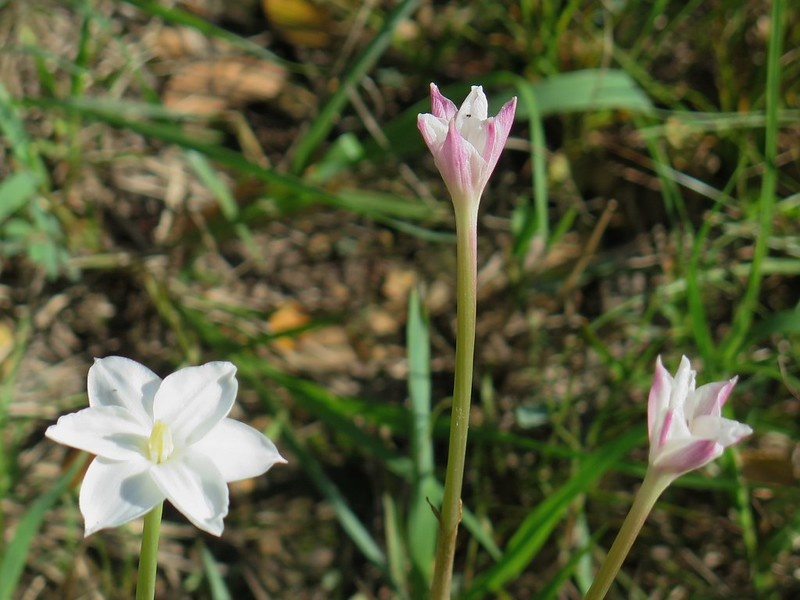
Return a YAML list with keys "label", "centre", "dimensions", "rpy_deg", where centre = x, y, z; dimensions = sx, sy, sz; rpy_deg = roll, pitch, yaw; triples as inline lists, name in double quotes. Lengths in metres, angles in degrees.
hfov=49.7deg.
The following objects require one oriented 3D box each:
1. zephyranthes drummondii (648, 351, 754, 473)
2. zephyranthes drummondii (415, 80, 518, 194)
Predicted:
- label: "zephyranthes drummondii"
  centre: [0.604, 0.233, 1.786]
  dimensions: [0.193, 0.101, 0.223]
  rpy_deg: [-7, 70, -5]
- label: "zephyranthes drummondii"
  centre: [0.144, -0.330, 1.817]
  dimensions: [0.207, 0.202, 0.265]
  rpy_deg: [3, 95, 10]
